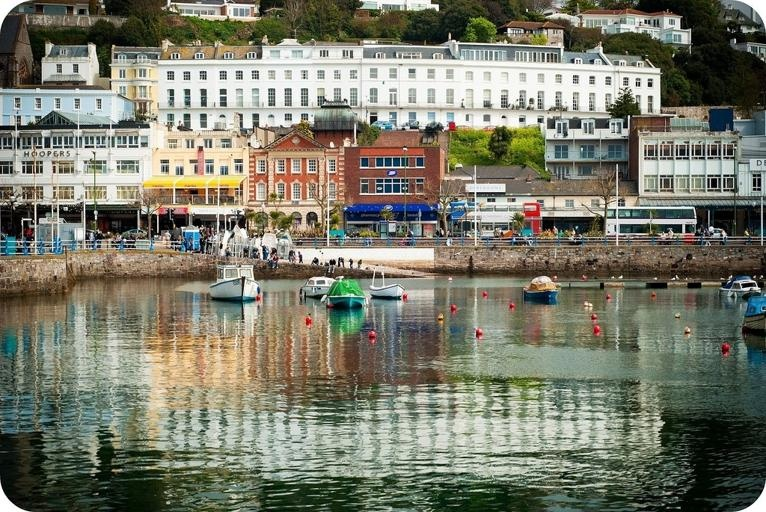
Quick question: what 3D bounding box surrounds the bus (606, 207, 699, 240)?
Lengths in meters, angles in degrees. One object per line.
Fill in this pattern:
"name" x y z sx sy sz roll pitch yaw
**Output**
"bus" 30.685 -3.754 172.091 13.318 4.798 4.364 0 2 2
